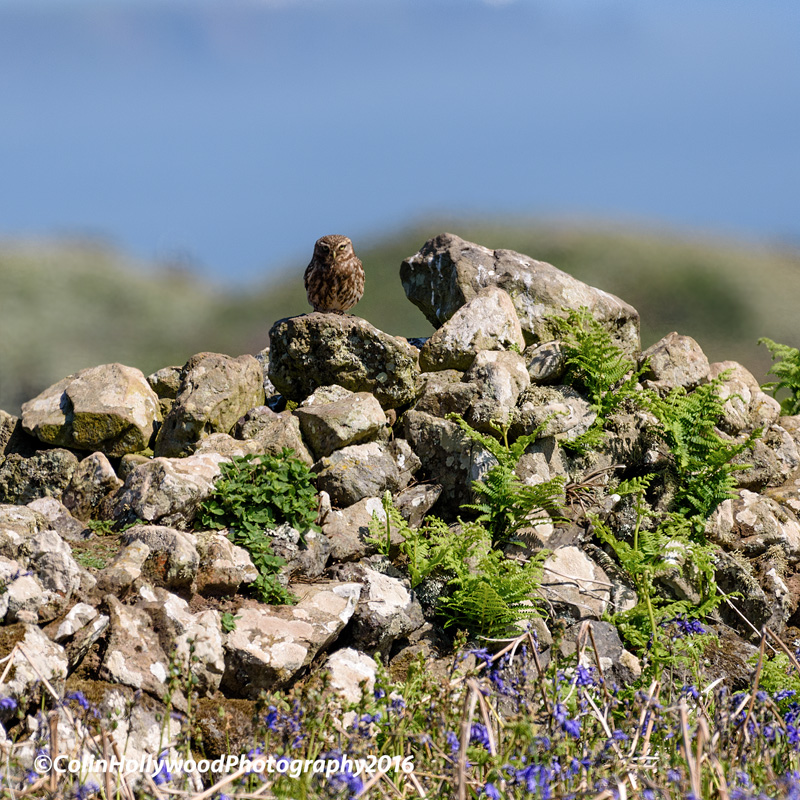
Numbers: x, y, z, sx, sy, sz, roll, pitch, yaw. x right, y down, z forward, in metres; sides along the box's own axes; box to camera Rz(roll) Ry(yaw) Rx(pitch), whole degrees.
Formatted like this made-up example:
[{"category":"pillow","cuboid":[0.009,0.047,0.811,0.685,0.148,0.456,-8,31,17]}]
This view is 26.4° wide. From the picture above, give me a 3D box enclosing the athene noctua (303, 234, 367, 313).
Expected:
[{"category":"athene noctua","cuboid":[-0.457,-0.828,11.337,0.434,0.496,0.396,0,-1,-43]}]
